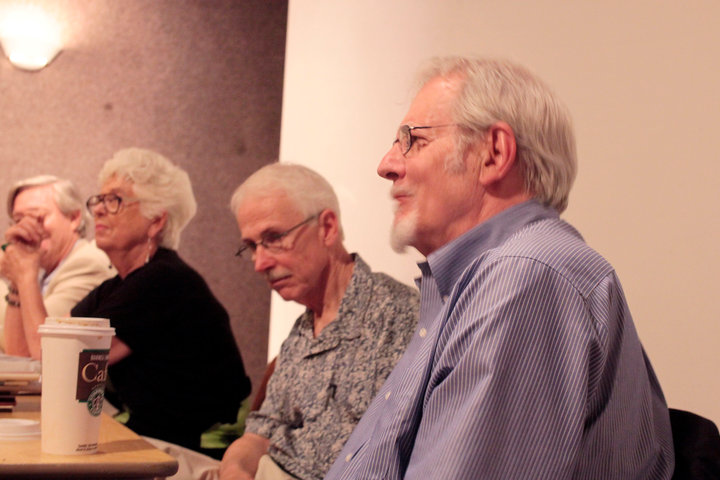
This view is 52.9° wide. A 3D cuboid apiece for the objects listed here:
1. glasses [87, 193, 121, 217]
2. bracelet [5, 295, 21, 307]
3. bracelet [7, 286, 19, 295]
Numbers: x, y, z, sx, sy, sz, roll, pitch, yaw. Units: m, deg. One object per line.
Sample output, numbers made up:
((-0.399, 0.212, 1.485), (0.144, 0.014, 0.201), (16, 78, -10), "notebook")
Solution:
((-1.059, -0.157, 3.004), (0.095, 0.045, 0.100), (1, -15, -11), "glasses")
((-1.391, 0.244, 2.900), (0.046, 0.012, 0.046), (37, -2, 3), "bracelet")
((-1.394, 0.202, 2.909), (0.029, 0.029, 0.030), (-8, -1, 4), "bracelet")
